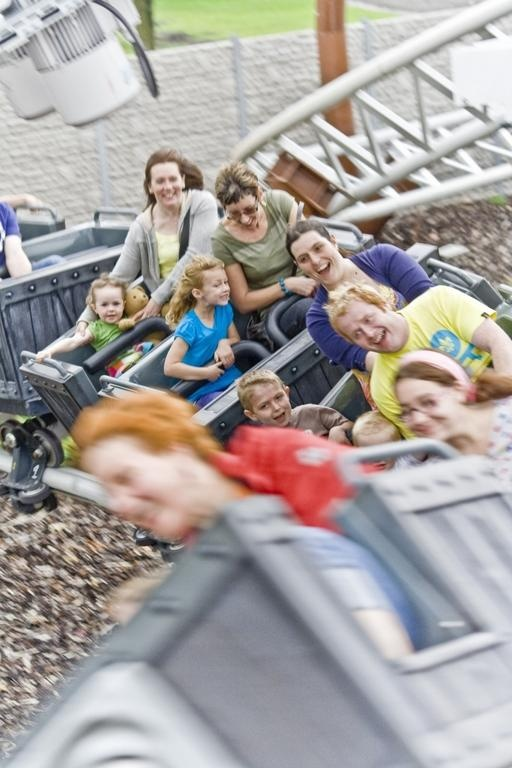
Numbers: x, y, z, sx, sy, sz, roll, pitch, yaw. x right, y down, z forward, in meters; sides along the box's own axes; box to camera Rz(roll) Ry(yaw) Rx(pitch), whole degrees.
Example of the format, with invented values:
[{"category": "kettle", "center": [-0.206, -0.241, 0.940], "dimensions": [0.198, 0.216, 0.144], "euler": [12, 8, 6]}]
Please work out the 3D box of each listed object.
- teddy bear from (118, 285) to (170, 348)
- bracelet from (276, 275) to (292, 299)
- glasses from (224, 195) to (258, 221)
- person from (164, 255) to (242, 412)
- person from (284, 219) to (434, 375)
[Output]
[{"category": "teddy bear", "center": [-0.801, -0.470, 4.354], "dimensions": [0.309, 0.407, 0.328], "euler": [11, 23, 25]}, {"category": "bracelet", "center": [0.166, -0.592, 3.794], "dimensions": [0.040, 0.104, 0.089], "euler": [-28, 39, 12]}, {"category": "glasses", "center": [-0.078, -0.999, 3.594], "dimensions": [0.150, 0.045, 0.152], "euler": [-15, 14, 35]}, {"category": "person", "center": [-0.336, -0.317, 3.614], "dimensions": [0.429, 0.783, 0.525], "euler": [-7, 24, 2]}, {"category": "person", "center": [0.532, -0.448, 3.067], "dimensions": [0.635, 0.345, 0.840], "euler": [-31, 33, 24]}]
